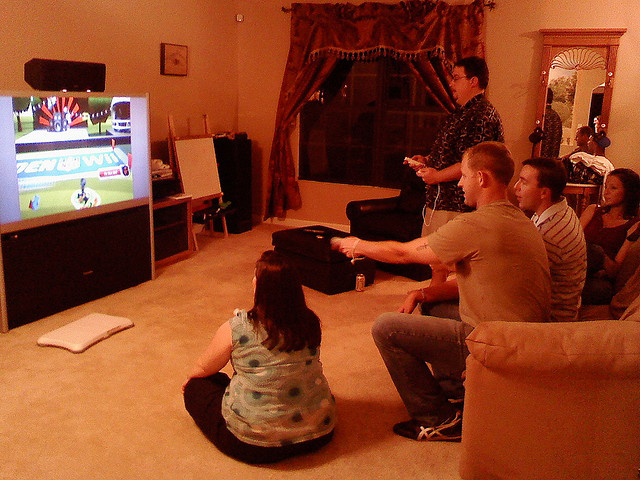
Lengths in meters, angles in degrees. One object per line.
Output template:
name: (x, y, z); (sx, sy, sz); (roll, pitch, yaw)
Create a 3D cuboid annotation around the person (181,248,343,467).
person: (-0.314, 0.498, 2.555); (0.793, 0.971, 0.713); (-3, 19, -16)

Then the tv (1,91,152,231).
tv: (-1.945, -0.646, 3.908); (0.021, 0.746, 1.144); (6, 11, 27)

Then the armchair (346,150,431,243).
armchair: (0.759, -0.487, 5.288); (0.934, 1.028, 0.815); (-4, 6, -32)

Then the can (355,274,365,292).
can: (0.368, 0.384, 4.588); (0.096, 0.164, 0.082); (-2, 19, -11)

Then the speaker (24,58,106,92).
speaker: (-2.100, -1.289, 3.981); (0.259, 0.280, 0.700); (-5, 10, 30)

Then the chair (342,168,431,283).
chair: (0.575, -0.204, 5.624); (1.148, 1.179, 1.191); (0, -4, -1)
